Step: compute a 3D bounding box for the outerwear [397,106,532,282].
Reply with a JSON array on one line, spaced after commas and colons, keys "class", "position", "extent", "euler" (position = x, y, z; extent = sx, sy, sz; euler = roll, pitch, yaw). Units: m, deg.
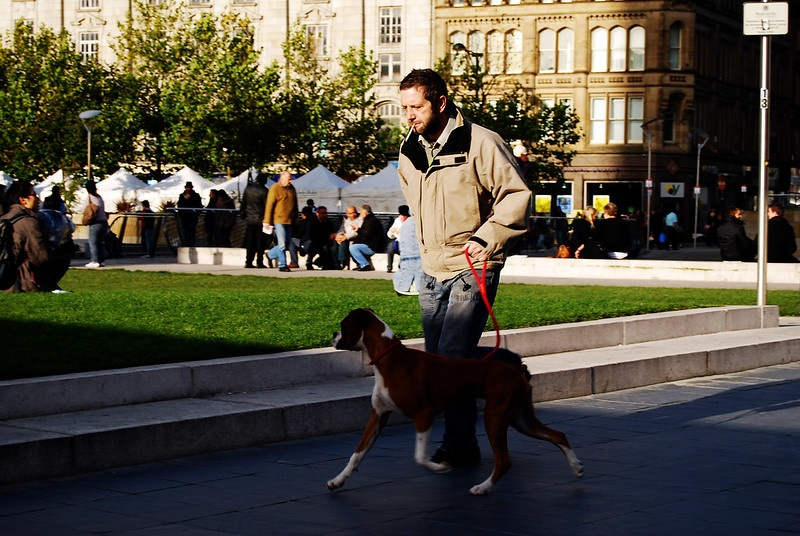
[{"class": "outerwear", "position": [0.530, -0.575, 9.819], "extent": [0.454, 1.401, 1.140], "euler": [-3, 12, -45]}]

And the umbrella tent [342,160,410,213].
[{"class": "umbrella tent", "position": [-0.950, -2.632, 40.906], "extent": [2.677, 1.550, 2.500], "euler": [2, 5, -3]}]

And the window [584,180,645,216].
[{"class": "window", "position": [11.186, -3.606, 60.920], "extent": [3.319, 1.804, 0.187], "euler": [-1, 6, -14]}]

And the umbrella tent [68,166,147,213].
[{"class": "umbrella tent", "position": [-10.585, -2.860, 43.234], "extent": [2.952, 1.288, 2.855], "euler": [-3, 5, -39]}]

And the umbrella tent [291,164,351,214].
[{"class": "umbrella tent", "position": [-2.791, -2.797, 41.695], "extent": [1.863, 1.030, 1.800], "euler": [1, 6, 19]}]

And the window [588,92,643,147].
[{"class": "window", "position": [11.509, -7.772, 61.556], "extent": [3.306, 2.514, 0.343], "euler": [1, 0, 11]}]

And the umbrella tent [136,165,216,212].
[{"class": "umbrella tent", "position": [-8.407, -2.970, 43.727], "extent": [1.948, 0.793, 1.874], "euler": [0, 8, 20]}]

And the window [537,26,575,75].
[{"class": "window", "position": [8.429, -11.586, 62.534], "extent": [3.058, 3.247, 0.267], "euler": [0, -1, 4]}]

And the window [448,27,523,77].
[{"class": "window", "position": [4.865, -11.660, 63.521], "extent": [4.346, 2.461, 0.226], "euler": [7, 17, 37]}]

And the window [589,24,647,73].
[{"class": "window", "position": [11.659, -11.510, 61.639], "extent": [2.922, 2.116, 0.370], "euler": [3, 6, 24]}]
